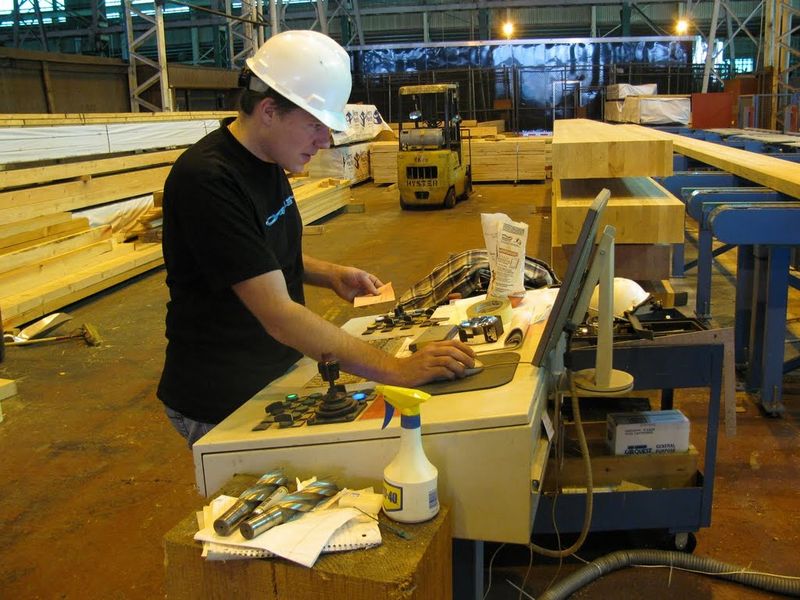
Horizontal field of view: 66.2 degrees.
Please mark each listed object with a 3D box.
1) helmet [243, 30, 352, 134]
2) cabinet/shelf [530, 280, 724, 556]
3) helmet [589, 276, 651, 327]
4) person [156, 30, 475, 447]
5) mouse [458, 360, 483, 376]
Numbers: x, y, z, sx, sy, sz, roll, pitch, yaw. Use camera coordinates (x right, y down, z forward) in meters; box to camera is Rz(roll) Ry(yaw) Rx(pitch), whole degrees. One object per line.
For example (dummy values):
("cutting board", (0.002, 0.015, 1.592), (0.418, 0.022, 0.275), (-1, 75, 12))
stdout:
("helmet", (-0.312, -0.773, 2.091), (0.405, 0.208, 0.334), (30, 28, -3))
("cabinet/shelf", (1.034, 0.516, 2.855), (1.151, 1.034, 0.830), (-1, 9, 10))
("helmet", (0.879, 0.014, 2.467), (0.175, 0.140, 0.141), (-34, 18, -18))
("person", (-0.360, -0.163, 2.121), (1.039, 1.490, 0.611), (9, 20, 32))
("mouse", (0.219, 0.208, 1.918), (0.064, 0.020, 0.036), (-13, 13, -10))
